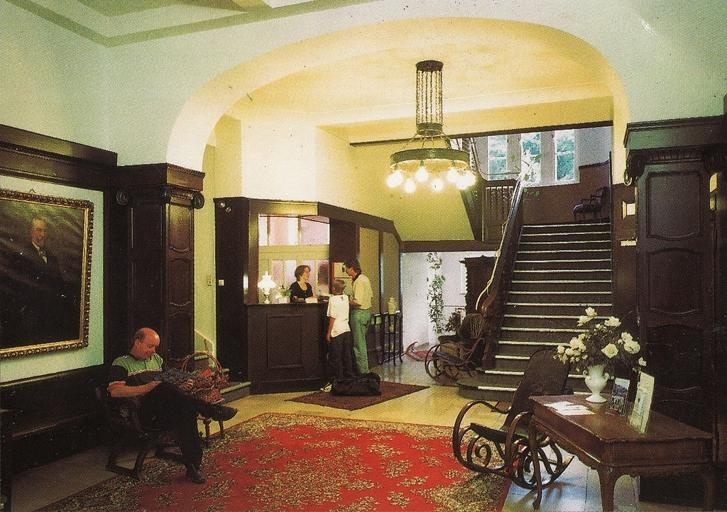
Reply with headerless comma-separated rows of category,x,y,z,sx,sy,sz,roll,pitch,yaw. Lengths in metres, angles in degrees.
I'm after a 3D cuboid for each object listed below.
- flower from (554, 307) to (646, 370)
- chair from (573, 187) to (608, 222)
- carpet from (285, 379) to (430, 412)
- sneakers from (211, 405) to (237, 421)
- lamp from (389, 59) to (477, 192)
flower,2.333,0.842,5.483,0.829,0.619,0.483,1,4,26
chair,5.949,-1.385,14.571,0.884,1.157,0.789,1,-1,-2
carpet,-0.115,2.218,8.913,1.282,0.071,1.947,2,4,44
sneakers,-1.590,1.782,6.241,0.228,0.097,0.267,-1,-11,7
lamp,1.020,-1.978,8.285,1.324,1.728,1.295,0,8,26
